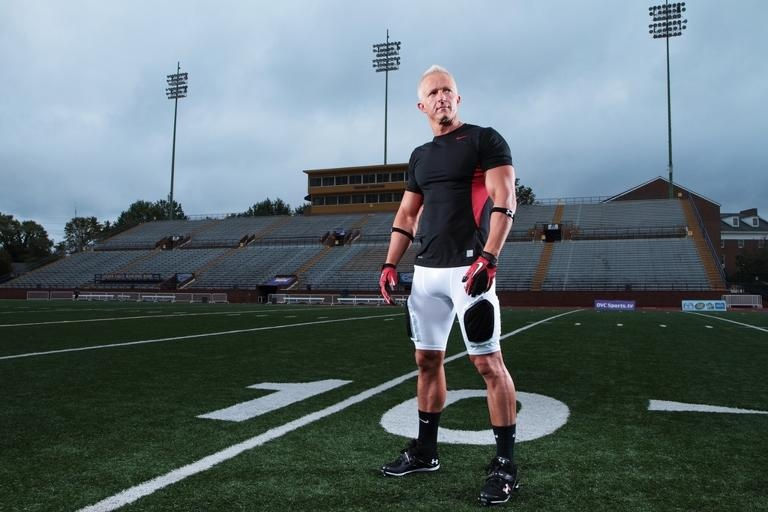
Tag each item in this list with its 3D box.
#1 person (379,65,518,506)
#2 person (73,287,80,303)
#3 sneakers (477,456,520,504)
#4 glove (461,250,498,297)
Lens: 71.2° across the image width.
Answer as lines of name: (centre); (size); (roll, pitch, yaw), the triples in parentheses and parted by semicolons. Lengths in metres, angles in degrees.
person: (0.372, 0.262, 3.701); (1.025, 2.416, 0.947); (-2, 2, 21)
person: (-22.067, 2.760, 38.310); (0.438, 0.736, 1.459); (-4, 4, -30)
sneakers: (0.696, 1.392, 3.271); (0.134, 0.148, 0.355); (-1, -6, 16)
glove: (0.650, 0.132, 3.589); (0.195, 0.313, 0.127); (44, 1, 28)
